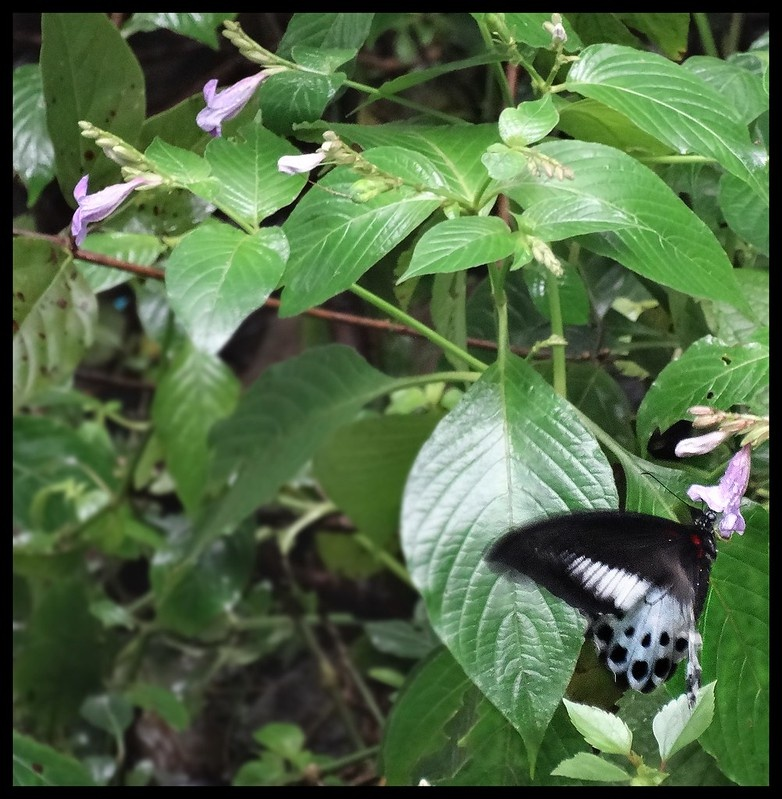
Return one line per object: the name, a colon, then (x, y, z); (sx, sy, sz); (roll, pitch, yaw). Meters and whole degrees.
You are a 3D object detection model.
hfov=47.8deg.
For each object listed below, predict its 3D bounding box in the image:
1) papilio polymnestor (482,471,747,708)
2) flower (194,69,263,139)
papilio polymnestor: (0.165, 0.161, 0.656); (0.203, 0.167, 0.039); (-5, 15, -24)
flower: (-0.124, -0.223, 0.660); (0.063, 0.033, 0.032); (-38, 27, -16)
